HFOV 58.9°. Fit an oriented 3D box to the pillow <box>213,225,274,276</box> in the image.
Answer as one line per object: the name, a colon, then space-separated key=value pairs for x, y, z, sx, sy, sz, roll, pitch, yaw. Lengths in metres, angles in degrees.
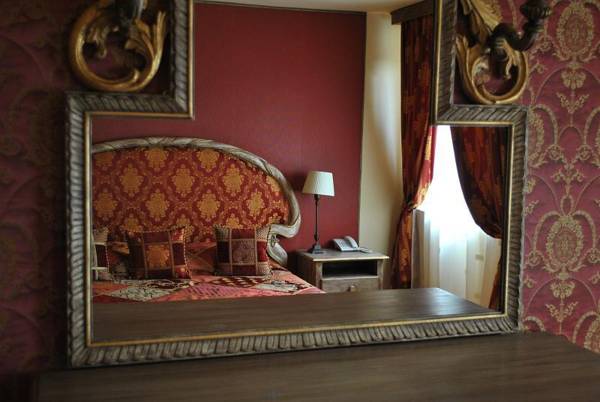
pillow: x=-0.180 y=0.142 z=1.624 sx=0.167 sy=0.140 sz=0.051 roll=0 pitch=9 yaw=0

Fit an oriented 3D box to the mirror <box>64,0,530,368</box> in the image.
mirror: x=-0.068 y=-0.055 z=1.624 sx=1.280 sy=0.871 sz=0.028 roll=-1 pitch=3 yaw=-17

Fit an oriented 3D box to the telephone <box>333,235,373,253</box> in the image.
telephone: x=0.161 y=0.128 z=1.632 sx=0.077 sy=0.053 sz=0.022 roll=-1 pitch=-38 yaw=-8
